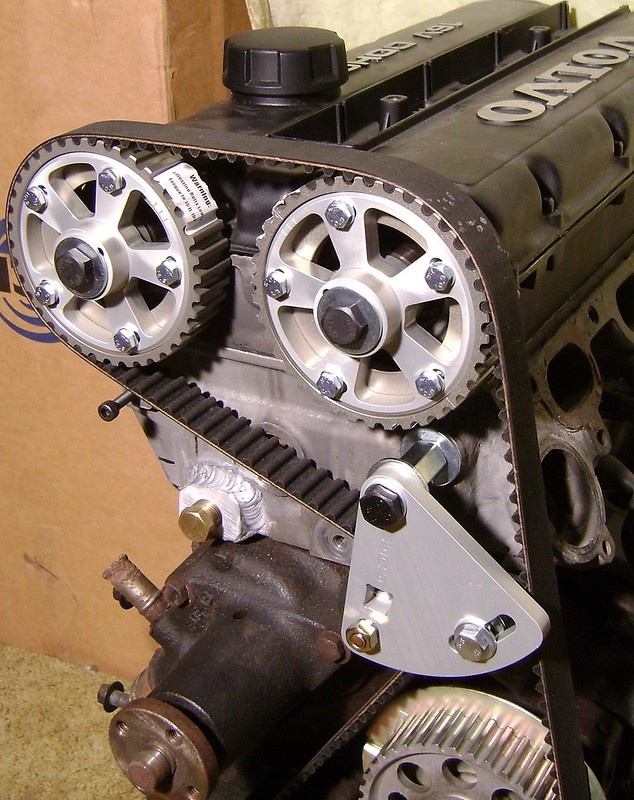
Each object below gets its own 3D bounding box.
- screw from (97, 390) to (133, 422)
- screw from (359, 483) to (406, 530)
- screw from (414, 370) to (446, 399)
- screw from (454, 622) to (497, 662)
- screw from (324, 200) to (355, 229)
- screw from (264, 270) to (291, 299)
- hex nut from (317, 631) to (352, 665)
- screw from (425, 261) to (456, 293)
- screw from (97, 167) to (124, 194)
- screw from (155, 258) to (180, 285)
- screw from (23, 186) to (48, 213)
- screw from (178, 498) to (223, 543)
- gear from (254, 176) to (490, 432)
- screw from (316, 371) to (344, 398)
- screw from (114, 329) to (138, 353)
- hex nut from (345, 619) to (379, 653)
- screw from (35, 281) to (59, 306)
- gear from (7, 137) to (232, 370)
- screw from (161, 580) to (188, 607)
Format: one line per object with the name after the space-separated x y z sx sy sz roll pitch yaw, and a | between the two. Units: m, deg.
-0.376 0.008 1.476 0.042 0.037 0.091 -30 7 26 | screw
0.073 0.113 0.844 0.049 0.044 0.025 9 36 35 | screw
0.120 -0.017 0.824 0.022 0.031 0.027 -21 57 -23 | screw
0.174 0.262 0.853 0.046 0.040 0.023 7 26 27 | screw
0.024 -0.188 0.790 0.029 0.024 0.015 7 21 37 | screw
-0.043 -0.130 0.878 0.032 0.029 0.017 -5 16 41 | screw
0.022 0.353 1.119 0.051 0.044 0.013 7 20 36 | hex nut
0.120 -0.119 0.758 0.015 0.023 0.029 -27 25 -34 | screw
-0.244 -0.263 0.937 0.029 0.026 0.016 14 32 31 | screw
-0.181 -0.154 0.968 0.022 0.038 0.027 -30 61 -27 | screw
-0.354 -0.255 0.995 0.024 0.029 0.017 31 41 20 | screw
-0.168 0.175 1.137 0.055 0.074 0.051 36 56 19 | screw
0.067 -0.109 0.847 0.298 0.266 0.152 10 32 35 | gear
0.017 -0.019 0.902 0.026 0.025 0.015 17 43 28 | screw
-0.250 -0.080 1.033 0.031 0.027 0.016 1 20 37 | screw
0.055 0.275 0.922 0.032 0.032 0.034 -31 1 26 | hex nut
-0.358 -0.144 1.051 0.032 0.028 0.016 3 27 39 | screw
-0.241 -0.193 1.009 0.336 0.291 0.105 11 27 27 | gear
-0.215 0.298 1.199 0.031 0.051 0.041 -30 61 -27 | screw
